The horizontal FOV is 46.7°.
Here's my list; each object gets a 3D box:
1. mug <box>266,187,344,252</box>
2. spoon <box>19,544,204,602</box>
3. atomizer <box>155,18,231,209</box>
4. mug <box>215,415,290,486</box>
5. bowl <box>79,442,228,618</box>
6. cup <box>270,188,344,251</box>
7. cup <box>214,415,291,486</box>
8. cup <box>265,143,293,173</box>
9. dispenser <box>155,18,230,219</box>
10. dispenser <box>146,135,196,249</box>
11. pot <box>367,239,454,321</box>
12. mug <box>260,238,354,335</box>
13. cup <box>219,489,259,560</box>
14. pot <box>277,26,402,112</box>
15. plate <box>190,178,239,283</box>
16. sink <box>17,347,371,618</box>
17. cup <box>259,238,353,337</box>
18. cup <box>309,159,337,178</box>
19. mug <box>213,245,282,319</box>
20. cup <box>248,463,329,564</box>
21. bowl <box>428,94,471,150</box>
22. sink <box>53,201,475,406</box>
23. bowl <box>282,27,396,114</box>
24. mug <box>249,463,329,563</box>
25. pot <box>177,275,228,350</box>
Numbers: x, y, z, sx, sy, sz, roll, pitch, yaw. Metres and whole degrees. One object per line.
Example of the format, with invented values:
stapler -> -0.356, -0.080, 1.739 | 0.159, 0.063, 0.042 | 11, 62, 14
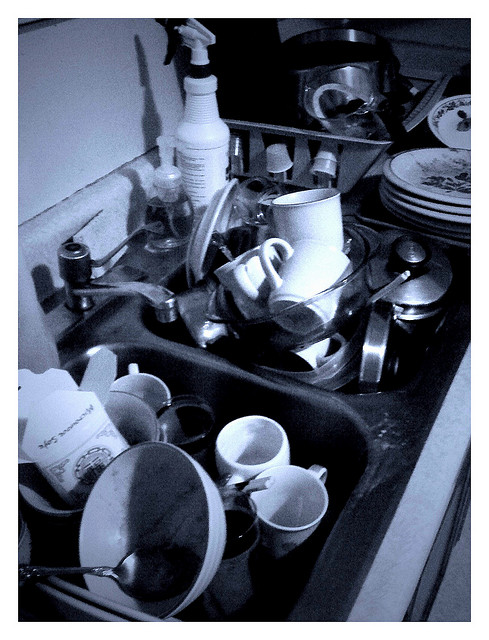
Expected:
mug -> 0.072, -0.112, 0.684 | 0.100, 0.080, 0.078 | 8, 29, 42
spoon -> -0.083, 0.190, 0.435 | 0.160, 0.029, 0.054 | 4, 40, -9
atomizer -> -0.069, -0.299, 0.839 | 0.100, 0.287, 0.084 | -17, 47, -19
mug -> 0.007, 0.130, 0.561 | 0.046, 0.050, 0.071 | 12, 49, 17
bowl -> -0.049, 0.153, 0.424 | 0.059, 0.114, 0.115 | 15, 37, -47
cup -> 0.071, -0.115, 0.695 | 0.082, 0.064, 0.068 | -1, 36, 40
cup -> 0.009, 0.115, 0.558 | 0.049, 0.053, 0.076 | 13, 50, 16
cup -> 0.054, -0.254, 0.889 | 0.040, 0.031, 0.041 | -9, 40, 8
dispenser -> -0.068, -0.297, 0.845 | 0.086, 0.274, 0.166 | -1, 26, 5
dispenser -> -0.108, -0.187, 0.850 | 0.077, 0.193, 0.082 | 10, 41, 6
pot -> 0.202, -0.041, 0.672 | 0.099, 0.035, 0.112 | 0, 70, 1
mug -> 0.049, -0.049, 0.613 | 0.097, 0.072, 0.064 | 29, -4, -26
cup -> -0.004, 0.163, 0.470 | 0.032, 0.039, 0.054 | -1, 30, -2
pot -> 0.175, -0.440, 1.045 | 0.198, 0.076, 0.157 | 6, 59, 29
plate -> -0.043, -0.119, 0.722 | 0.025, 0.116, 0.118 | 13, 66, -1
sink -> -0.051, 0.147, 0.477 | 0.271, 0.096, 0.220 | 18, 38, 23
cup -> 0.066, -0.038, 0.610 | 0.095, 0.104, 0.118 | 2, 27, 11
cup -> 0.127, -0.245, 0.901 | 0.028, 0.030, 0.032 | 8, 70, 3
mug -> 0.009, -0.036, 0.643 | 0.055, 0.092, 0.069 | -11, 67, -7
cup -> 0.044, 0.166, 0.515 | 0.056, 0.064, 0.088 | 18, 36, 27
bowl -> 0.374, -0.365, 1.033 | 0.075, 0.079, 0.127 | 5, 28, 17
sink -> 0.022, -0.099, 0.644 | 0.389, 0.145, 0.292 | 13, 44, 19
bowl -> 0.160, -0.418, 1.005 | 0.171, 0.184, 0.114 | 7, -1, 25
mug -> 0.043, 0.168, 0.514 | 0.056, 0.064, 0.088 | 19, 37, 28
pot -> -0.057, -0.009, 0.755 | 0.066, 0.090, 0.026 | -29, 0, -10
